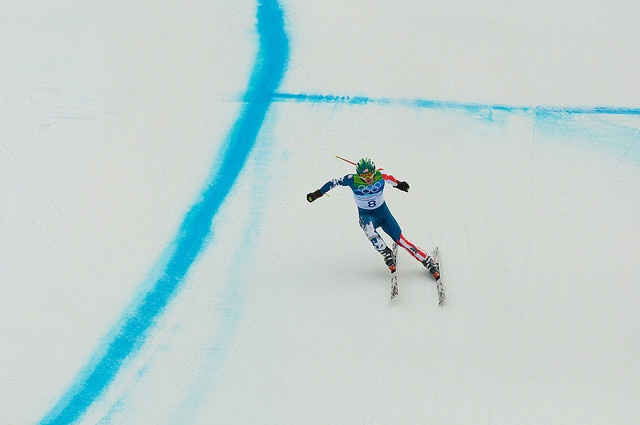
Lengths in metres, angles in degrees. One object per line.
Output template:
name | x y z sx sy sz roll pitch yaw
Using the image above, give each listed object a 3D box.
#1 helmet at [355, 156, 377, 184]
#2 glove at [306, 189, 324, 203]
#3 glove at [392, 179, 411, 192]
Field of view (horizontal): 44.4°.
helmet | 1.104 -1.088 18.984 0.394 0.548 0.518 -13 -51 13
glove | -0.144 -0.430 19.298 0.224 0.433 0.260 38 -47 28
glove | 2.036 -0.694 19.257 0.294 0.143 0.240 13 -32 27
